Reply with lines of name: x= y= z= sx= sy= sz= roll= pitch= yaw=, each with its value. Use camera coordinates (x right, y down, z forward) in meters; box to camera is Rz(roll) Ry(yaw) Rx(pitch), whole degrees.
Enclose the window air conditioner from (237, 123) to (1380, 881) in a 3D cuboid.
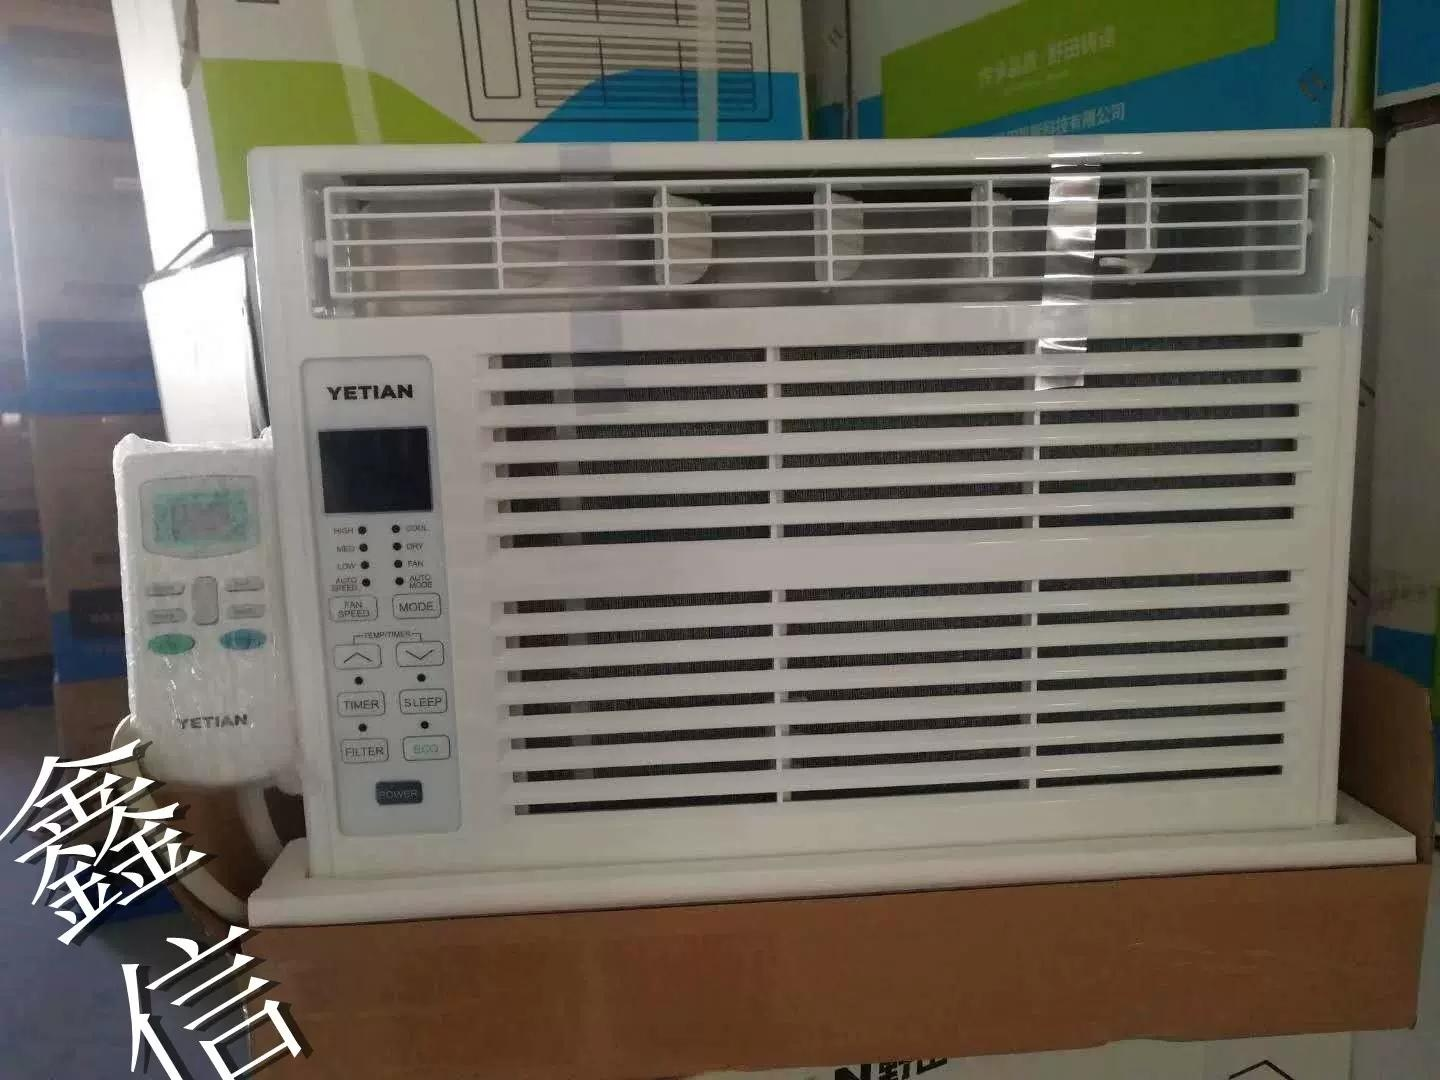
window air conditioner: x=0.105 y=-0.033 z=1.667 sx=1.077 sy=0.734 sz=0.626 roll=-2 pitch=1 yaw=4
